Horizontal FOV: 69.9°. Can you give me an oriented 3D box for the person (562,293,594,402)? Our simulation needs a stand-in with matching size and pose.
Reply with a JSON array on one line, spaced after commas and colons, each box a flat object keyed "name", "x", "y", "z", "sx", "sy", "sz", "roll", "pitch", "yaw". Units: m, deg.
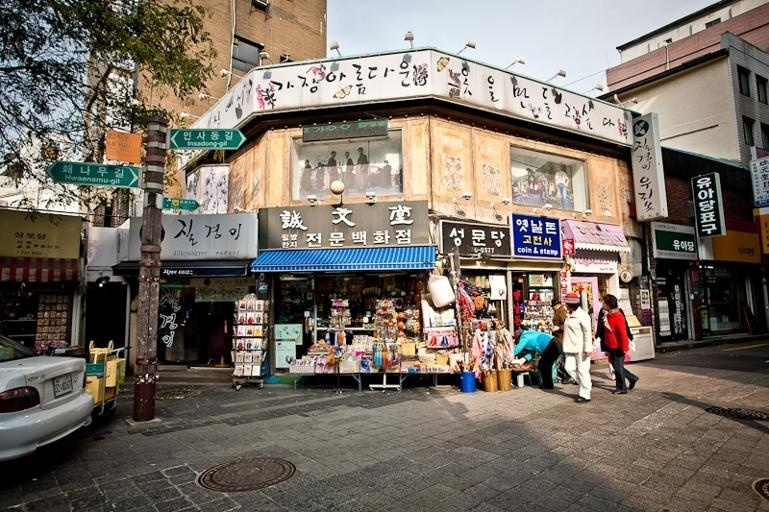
[{"name": "person", "x": 5.230, "y": 2.607, "z": 14.607, "sx": 0.678, "sy": 2.223, "sz": 1.038, "roll": -3, "pitch": 11, "yaw": -10}]

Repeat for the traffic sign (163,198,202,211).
[{"name": "traffic sign", "x": -5.619, "y": -1.420, "z": 15.163, "sx": 0.843, "sy": 0.337, "sz": 0.364, "roll": -4, "pitch": 12, "yaw": -14}]

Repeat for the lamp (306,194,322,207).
[{"name": "lamp", "x": -2.272, "y": -1.806, "z": 17.745, "sx": 0.400, "sy": 0.252, "sz": 0.401, "roll": 0, "pitch": -5, "yaw": -10}]

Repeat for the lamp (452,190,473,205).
[{"name": "lamp", "x": 2.611, "y": -1.880, "z": 17.828, "sx": 0.832, "sy": 0.391, "sz": 0.390, "roll": -8, "pitch": 13, "yaw": -30}]

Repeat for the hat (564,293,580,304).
[{"name": "hat", "x": 5.091, "y": 1.149, "z": 14.957, "sx": 0.350, "sy": 0.219, "sz": 0.352, "roll": 1, "pitch": -5, "yaw": 1}]

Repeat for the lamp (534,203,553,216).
[{"name": "lamp", "x": 5.708, "y": -1.628, "z": 19.558, "sx": 1.101, "sy": 0.407, "sz": 0.402, "roll": -10, "pitch": 15, "yaw": -38}]

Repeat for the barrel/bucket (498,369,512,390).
[{"name": "barrel/bucket", "x": 3.310, "y": 3.511, "z": 15.640, "sx": 0.481, "sy": 0.535, "sz": 0.497, "roll": 0, "pitch": -13, "yaw": 0}]

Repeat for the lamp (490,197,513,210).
[{"name": "lamp", "x": 3.977, "y": -1.790, "z": 18.542, "sx": 0.870, "sy": 0.324, "sz": 0.239, "roll": -8, "pitch": 13, "yaw": -30}]

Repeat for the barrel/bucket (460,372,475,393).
[{"name": "barrel/bucket", "x": 2.348, "y": 3.506, "z": 15.386, "sx": 0.486, "sy": 0.551, "sz": 0.485, "roll": -1, "pitch": -10, "yaw": 0}]

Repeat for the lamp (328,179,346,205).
[{"name": "lamp", "x": -1.490, "y": -2.039, "z": 17.738, "sx": 0.419, "sy": 0.732, "sz": 0.963, "roll": -1, "pitch": 11, "yaw": -3}]

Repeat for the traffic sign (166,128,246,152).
[{"name": "traffic sign", "x": -4.553, "y": -2.986, "z": 14.026, "sx": 1.965, "sy": 0.503, "sz": 0.345, "roll": 1, "pitch": 12, "yaw": 11}]

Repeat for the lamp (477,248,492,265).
[{"name": "lamp", "x": 3.275, "y": 0.021, "z": 17.924, "sx": 0.574, "sy": 0.624, "sz": 0.233, "roll": -8, "pitch": 13, "yaw": -30}]

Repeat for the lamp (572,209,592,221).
[{"name": "lamp", "x": 7.275, "y": -1.487, "z": 20.013, "sx": 0.413, "sy": 0.212, "sz": 0.593, "roll": -1, "pitch": 0, "yaw": -3}]

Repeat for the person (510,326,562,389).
[{"name": "person", "x": 4.541, "y": 2.935, "z": 16.371, "sx": 1.510, "sy": 1.662, "sz": 1.142, "roll": -7, "pitch": -1, "yaw": 32}]

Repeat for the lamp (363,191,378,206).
[{"name": "lamp", "x": -0.432, "y": -1.864, "z": 17.550, "sx": 0.420, "sy": 0.401, "sz": 0.400, "roll": 4, "pitch": 22, "yaw": 11}]

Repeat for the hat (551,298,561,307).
[{"name": "hat", "x": 5.379, "y": 1.399, "z": 17.245, "sx": 0.274, "sy": 0.284, "sz": 0.366, "roll": -10, "pitch": -17, "yaw": 22}]

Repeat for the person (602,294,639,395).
[{"name": "person", "x": 6.473, "y": 2.468, "z": 15.188, "sx": 0.909, "sy": 2.763, "sz": 0.853, "roll": -10, "pitch": 14, "yaw": -38}]
